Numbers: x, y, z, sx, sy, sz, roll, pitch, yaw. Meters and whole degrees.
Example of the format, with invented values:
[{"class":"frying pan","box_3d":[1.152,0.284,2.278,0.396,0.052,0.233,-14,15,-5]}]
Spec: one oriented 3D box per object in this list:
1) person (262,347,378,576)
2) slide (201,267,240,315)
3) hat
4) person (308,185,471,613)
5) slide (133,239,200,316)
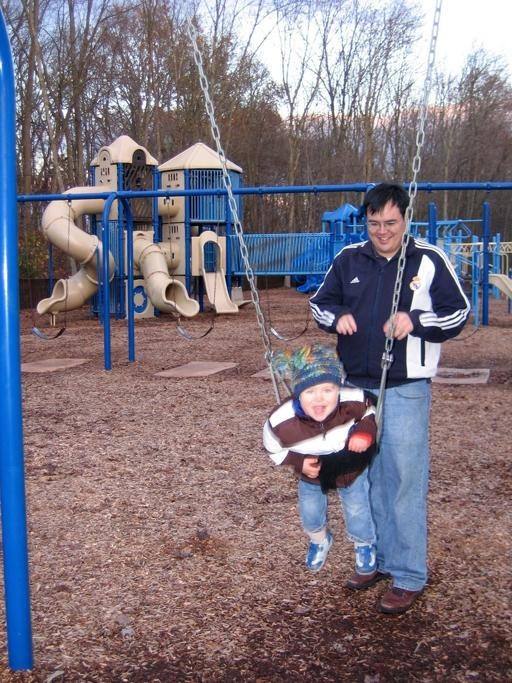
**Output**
[{"class":"person","box_3d":[0.254,0.464,2.654,0.447,0.919,0.320,-2,8,-7]},{"class":"slide","box_3d":[-0.822,-1.100,16.661,0.461,0.664,1.467,2,35,-28]},{"class":"hat","box_3d":[0.175,0.088,2.513,0.220,0.172,0.297,3,9,18]},{"class":"person","box_3d":[0.431,0.192,2.675,0.597,1.475,0.515,1,3,40]},{"class":"slide","box_3d":[-1.916,-1.272,14.553,1.216,1.758,1.258,-5,13,-31]}]
